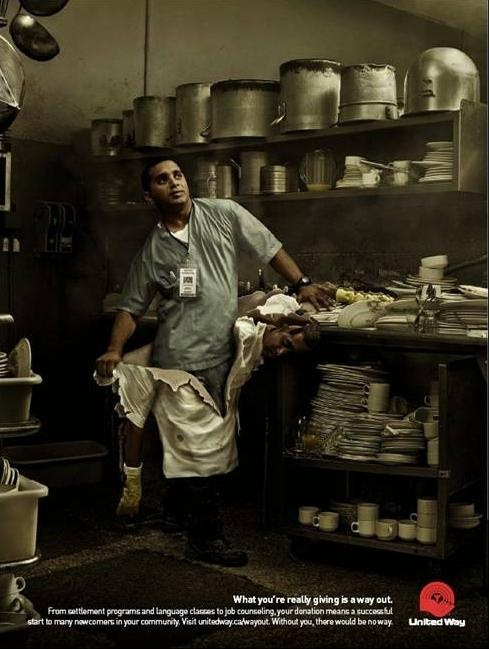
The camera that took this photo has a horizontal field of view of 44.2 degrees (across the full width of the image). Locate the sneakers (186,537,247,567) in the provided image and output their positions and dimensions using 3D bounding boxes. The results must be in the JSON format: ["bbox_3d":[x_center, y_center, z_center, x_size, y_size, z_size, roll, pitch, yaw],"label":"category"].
[{"bbox_3d":[-0.089,0.724,1.971,0.197,0.074,0.079,-4,-3,28],"label":"sneakers"}]

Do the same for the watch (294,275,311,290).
[{"bbox_3d":[0.192,-0.147,2.086,0.061,0.052,0.037,-25,58,-22],"label":"watch"}]

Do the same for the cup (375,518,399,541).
[{"bbox_3d":[0.431,0.617,1.825,0.052,0.039,0.062,-1,-10,2],"label":"cup"}]

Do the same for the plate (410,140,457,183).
[{"bbox_3d":[0.593,-0.496,1.864,0.135,0.085,0.140,6,12,41],"label":"plate"}]

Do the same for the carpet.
[{"bbox_3d":[-0.005,0.788,1.787,1.393,0.200,0.578,3,6,10],"label":"carpet"}]

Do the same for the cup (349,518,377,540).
[{"bbox_3d":[0.371,0.627,1.858,0.073,0.040,0.046,-1,-4,10],"label":"cup"}]

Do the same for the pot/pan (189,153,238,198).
[{"bbox_3d":[-0.114,-0.544,2.197,0.163,0.136,0.150,2,8,13],"label":"pot/pan"}]

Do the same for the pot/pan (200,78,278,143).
[{"bbox_3d":[-0.006,-0.710,2.048,0.208,0.126,0.194,0,1,-1],"label":"pot/pan"}]

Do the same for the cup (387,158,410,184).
[{"bbox_3d":[0.488,-0.487,1.937,0.048,0.084,0.089,-3,8,-40],"label":"cup"}]

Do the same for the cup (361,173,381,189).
[{"bbox_3d":[0.416,-0.481,1.980,0.041,0.062,0.060,0,7,-23],"label":"cup"}]

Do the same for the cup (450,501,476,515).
[{"bbox_3d":[0.664,0.557,1.835,0.049,0.031,0.047,-1,-1,0],"label":"cup"}]

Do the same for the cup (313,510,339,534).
[{"bbox_3d":[0.262,0.628,1.929,0.077,0.047,0.054,0,-1,3],"label":"cup"}]

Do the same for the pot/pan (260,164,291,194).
[{"bbox_3d":[0.111,-0.516,2.140,0.112,0.094,0.103,-2,6,-10],"label":"pot/pan"}]

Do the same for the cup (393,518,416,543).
[{"bbox_3d":[0.478,0.611,1.809,0.062,0.046,0.063,-2,-4,0],"label":"cup"}]

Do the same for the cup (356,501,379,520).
[{"bbox_3d":[0.380,0.574,1.868,0.057,0.037,0.053,-1,-4,0],"label":"cup"}]

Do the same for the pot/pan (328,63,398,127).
[{"bbox_3d":[0.393,-0.728,1.964,0.191,0.131,0.184,0,-2,-6],"label":"pot/pan"}]

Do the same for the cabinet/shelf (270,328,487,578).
[{"bbox_3d":[0.428,0.396,1.882,0.749,0.625,0.424,-5,-10,37],"label":"cabinet/shelf"}]

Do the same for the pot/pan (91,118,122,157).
[{"bbox_3d":[-0.463,-0.665,2.136,0.128,0.121,0.121,4,10,10],"label":"pot/pan"}]

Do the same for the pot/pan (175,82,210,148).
[{"bbox_3d":[-0.182,-0.741,2.113,0.188,0.170,0.172,2,8,9],"label":"pot/pan"}]

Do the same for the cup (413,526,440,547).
[{"bbox_3d":[0.538,0.612,1.756,0.054,0.040,0.050,1,-13,0],"label":"cup"}]

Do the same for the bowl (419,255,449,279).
[{"bbox_3d":[0.585,-0.175,1.869,0.082,0.063,0.062,8,9,37],"label":"bowl"}]

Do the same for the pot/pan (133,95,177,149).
[{"bbox_3d":[-0.321,-0.712,2.134,0.174,0.163,0.163,-1,6,-6],"label":"pot/pan"}]

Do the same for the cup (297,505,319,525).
[{"bbox_3d":[0.208,0.627,1.990,0.065,0.040,0.047,0,-7,7],"label":"cup"}]

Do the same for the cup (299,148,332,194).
[{"bbox_3d":[0.244,-0.544,2.090,0.153,0.128,0.110,-1,12,3],"label":"cup"}]

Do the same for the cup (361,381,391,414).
[{"bbox_3d":[0.420,0.229,1.915,0.114,0.099,0.070,0,0,5],"label":"cup"}]

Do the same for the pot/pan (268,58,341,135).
[{"bbox_3d":[0.212,-0.741,1.970,0.221,0.183,0.201,4,12,25],"label":"pot/pan"}]

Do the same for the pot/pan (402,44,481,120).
[{"bbox_3d":[0.585,-0.723,1.832,0.207,0.160,0.209,-2,2,0],"label":"pot/pan"}]

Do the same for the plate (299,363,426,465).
[{"bbox_3d":[0.369,0.268,1.922,0.299,0.160,0.351,-1,3,-9],"label":"plate"}]
